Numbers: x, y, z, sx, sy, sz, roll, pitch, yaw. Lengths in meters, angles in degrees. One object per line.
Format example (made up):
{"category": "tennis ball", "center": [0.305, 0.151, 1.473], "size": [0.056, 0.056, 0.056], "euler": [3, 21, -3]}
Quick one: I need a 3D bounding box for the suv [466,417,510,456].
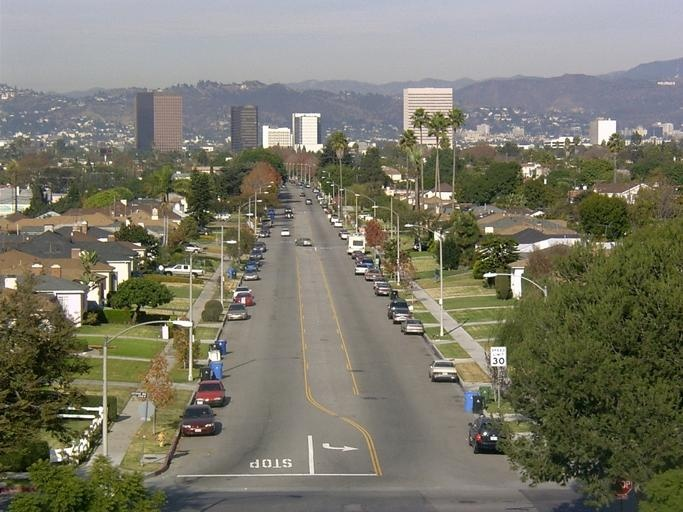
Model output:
{"category": "suv", "center": [8.516, 10.772, 76.022], "size": [1.361, 1.240, 3.109], "euler": [0, 6, 0]}

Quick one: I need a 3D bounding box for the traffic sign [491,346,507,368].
{"category": "traffic sign", "center": [10.207, 6.508, 84.112], "size": [1.201, 1.439, 0.183], "euler": [3, -4, -5]}

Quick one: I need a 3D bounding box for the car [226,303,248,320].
{"category": "car", "center": [-9.243, 4.915, 114.835], "size": [1.756, 1.184, 2.126], "euler": [-11, 5, 3]}

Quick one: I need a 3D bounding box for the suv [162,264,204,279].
{"category": "suv", "center": [-17.092, 1.658, 139.117], "size": [2.791, 1.053, 1.326], "euler": [3, 2, -1]}

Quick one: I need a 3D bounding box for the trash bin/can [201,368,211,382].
{"category": "trash bin/can", "center": [-9.426, 8.178, 90.045], "size": [0.650, 0.767, 0.663], "euler": [0, -1, -6]}

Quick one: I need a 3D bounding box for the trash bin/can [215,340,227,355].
{"category": "trash bin/can", "center": [-9.222, 7.039, 100.073], "size": [0.928, 1.186, 0.964], "euler": [1, 3, 0]}

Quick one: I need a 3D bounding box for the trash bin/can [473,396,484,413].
{"category": "trash bin/can", "center": [8.844, 9.573, 83.963], "size": [0.688, 0.844, 0.347], "euler": [-10, 5, 7]}
